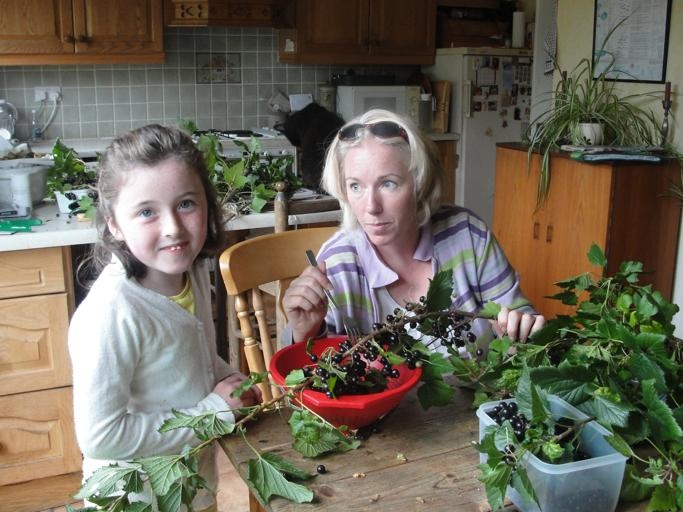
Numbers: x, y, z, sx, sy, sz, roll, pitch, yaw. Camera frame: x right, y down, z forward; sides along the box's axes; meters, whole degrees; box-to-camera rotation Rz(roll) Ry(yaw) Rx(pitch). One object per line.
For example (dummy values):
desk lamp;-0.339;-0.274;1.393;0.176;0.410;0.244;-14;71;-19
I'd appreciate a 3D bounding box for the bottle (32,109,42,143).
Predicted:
bottle;-2.628;-1.124;4.396;0.077;0.272;0.126;-7;16;-32

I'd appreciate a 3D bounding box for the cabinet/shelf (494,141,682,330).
cabinet/shelf;1.102;-0.122;2.211;0.337;0.889;0.904;-2;10;-9

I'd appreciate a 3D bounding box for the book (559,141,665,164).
book;1.339;-0.502;2.546;0.464;0.084;0.318;9;15;27

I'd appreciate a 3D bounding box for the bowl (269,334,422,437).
bowl;-0.030;0.249;0.956;0.217;0.086;0.201;-1;17;0

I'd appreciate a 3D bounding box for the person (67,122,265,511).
person;-0.395;0.139;1.140;0.388;0.833;0.473;-6;15;-28

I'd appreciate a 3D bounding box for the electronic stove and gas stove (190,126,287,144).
electronic stove and gas stove;-0.904;-1.123;4.755;0.667;0.129;0.748;-7;15;-21

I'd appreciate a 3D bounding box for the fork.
fork;-0.018;0.110;1.299;0.034;0.247;0.028;-32;19;-6
